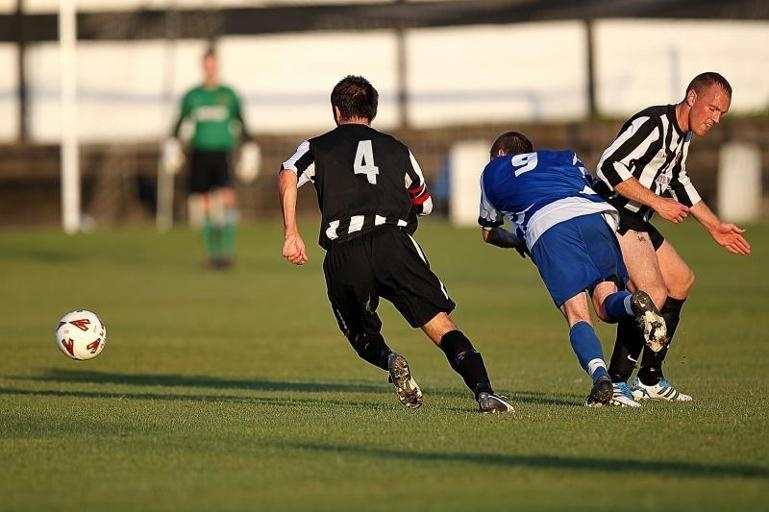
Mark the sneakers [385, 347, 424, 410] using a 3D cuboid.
[{"bbox_3d":[0.201,1.273,13.974,0.287,0.622,0.251,-22,-5,-14],"label":"sneakers"}]

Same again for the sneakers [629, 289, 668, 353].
[{"bbox_3d":[2.649,0.688,13.818,0.295,0.654,0.286,-25,1,-14],"label":"sneakers"}]

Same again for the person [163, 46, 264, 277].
[{"bbox_3d":[-2.662,-1.459,20.872,0.939,3.422,1.319,0,7,10],"label":"person"}]

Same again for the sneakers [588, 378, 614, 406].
[{"bbox_3d":[2.218,1.391,13.949,0.266,0.348,0.281,-1,7,0],"label":"sneakers"}]

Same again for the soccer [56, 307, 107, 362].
[{"bbox_3d":[-3.469,0.920,15.509,0.644,0.650,0.616,0,15,-15],"label":"soccer"}]

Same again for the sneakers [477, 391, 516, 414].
[{"bbox_3d":[1.095,1.504,13.818,0.447,0.152,0.191,9,46,-9],"label":"sneakers"}]
